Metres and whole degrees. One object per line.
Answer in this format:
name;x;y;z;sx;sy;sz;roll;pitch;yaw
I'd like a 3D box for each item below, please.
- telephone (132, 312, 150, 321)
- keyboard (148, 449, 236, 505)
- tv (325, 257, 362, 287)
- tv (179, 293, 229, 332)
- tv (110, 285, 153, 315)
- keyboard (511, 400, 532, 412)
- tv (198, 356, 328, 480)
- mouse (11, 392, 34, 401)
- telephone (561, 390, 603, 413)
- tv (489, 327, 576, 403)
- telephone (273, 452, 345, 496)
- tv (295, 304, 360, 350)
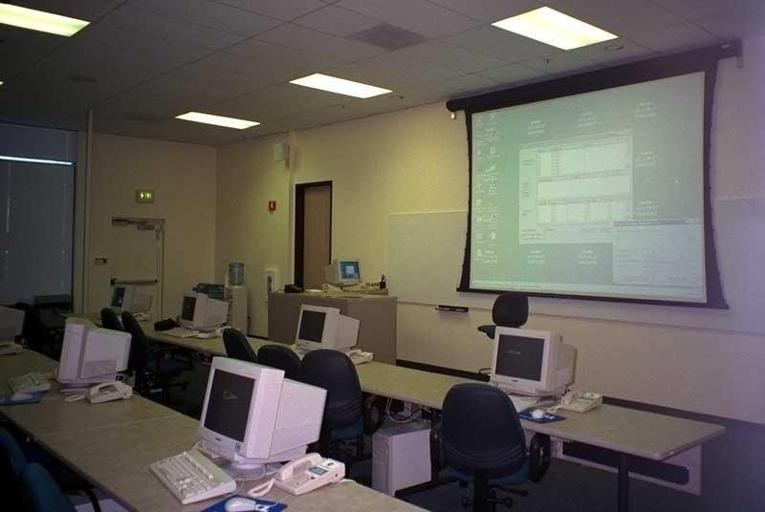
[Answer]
telephone;-3.624;0.922;7.924;0.207;0.052;0.190;4;4;-2
keyboard;-1.205;1.390;3.346;0.314;0.099;0.589;-7;11;-44
tv;-0.557;0.248;7.865;0.397;0.409;0.503;5;4;43
tv;-2.455;0.746;7.284;0.707;0.599;0.500;3;2;42
tv;-3.880;0.673;8.214;0.504;0.367;0.514;1;0;42
keyboard;1.166;1.252;4.417;0.163;0.049;0.162;3;4;40
tv;-0.829;1.029;3.710;0.723;0.788;0.894;4;0;-40
mouse;-3.069;1.204;4.495;0.141;0.032;0.071;1;17;-15
telephone;1.694;1.232;4.466;0.250;0.080;0.181;0;-1;-44
tv;1.336;0.902;4.767;0.628;0.606;0.652;-1;1;-44
telephone;-0.457;1.355;3.332;0.275;0.097;0.207;-3;3;-42
tv;-0.632;0.805;6.029;0.519;0.511;0.704;3;-2;-39
